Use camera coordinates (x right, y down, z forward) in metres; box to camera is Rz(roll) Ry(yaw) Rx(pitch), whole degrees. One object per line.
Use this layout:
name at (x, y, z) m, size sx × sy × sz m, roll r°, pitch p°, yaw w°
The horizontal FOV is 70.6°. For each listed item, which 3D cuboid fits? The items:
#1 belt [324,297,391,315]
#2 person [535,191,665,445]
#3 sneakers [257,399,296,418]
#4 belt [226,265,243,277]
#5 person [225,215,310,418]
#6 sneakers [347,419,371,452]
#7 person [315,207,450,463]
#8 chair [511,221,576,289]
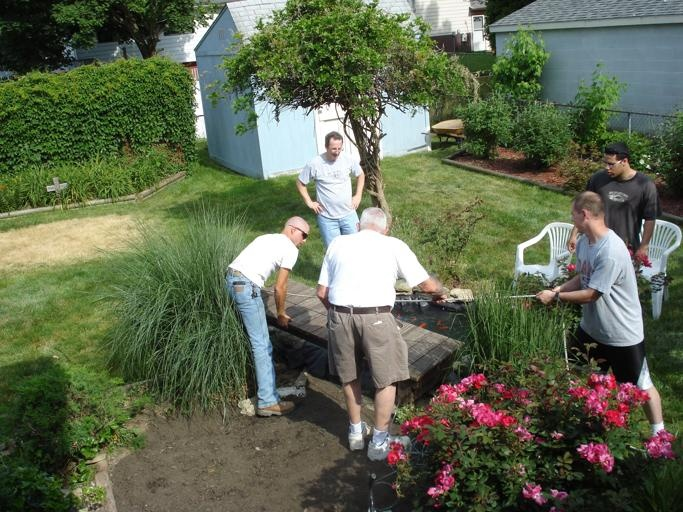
belt at (0.150, 0.437, 4.054) m, size 0.528 × 0.099 × 0.142 m, roll 0°, pitch 21°, yaw 12°
person at (2.244, 0.422, 4.002) m, size 0.826 × 1.845 × 0.608 m, roll 5°, pitch 21°, yaw 26°
sneakers at (-0.626, 1.440, 4.582) m, size 0.307 × 0.185 × 0.151 m, roll -6°, pitch 12°, yaw -13°
belt at (-1.041, 0.148, 4.604) m, size 0.075 × 0.119 × 0.042 m, roll -24°, pitch 36°, yaw 55°
person at (-0.737, 0.549, 4.751) m, size 0.690 × 1.711 × 0.945 m, roll 4°, pitch 21°, yaw 23°
sneakers at (0.152, 1.577, 4.190) m, size 0.103 × 0.152 × 0.323 m, roll -1°, pitch -4°, yaw 8°
person at (0.303, 0.596, 4.239) m, size 0.865 × 1.917 × 0.715 m, roll -11°, pitch 20°, yaw -18°
chair at (2.668, -0.007, 6.353) m, size 0.670 × 0.978 × 0.555 m, roll -15°, pitch 25°, yaw -39°
